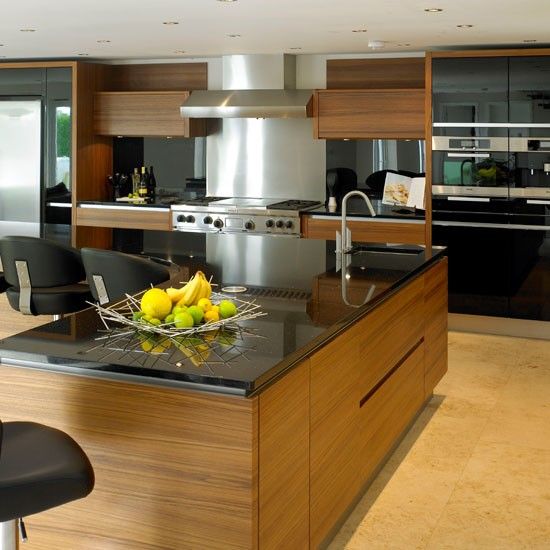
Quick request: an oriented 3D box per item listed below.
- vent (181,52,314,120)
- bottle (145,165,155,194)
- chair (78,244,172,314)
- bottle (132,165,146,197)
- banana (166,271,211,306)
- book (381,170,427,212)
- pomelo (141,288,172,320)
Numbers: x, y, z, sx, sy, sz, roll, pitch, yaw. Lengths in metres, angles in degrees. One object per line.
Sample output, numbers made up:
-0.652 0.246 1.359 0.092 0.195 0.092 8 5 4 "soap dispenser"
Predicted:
-0.254 -2.090 5.815 1.483 0.617 0.769 7 27 20 "vent"
-1.529 -1.165 6.453 0.125 0.352 0.115 2 9 0 "bottle"
-0.745 -0.036 2.731 0.372 0.388 0.377 7 22 20 "chair"
-1.661 -1.137 6.417 0.169 0.348 0.301 -1 9 -15 "bottle"
-0.282 0.056 1.759 0.105 0.135 0.052 38 -14 12 "banana"
1.346 -0.860 5.428 0.548 0.345 0.064 10 -7 36 "book"
-0.351 0.081 1.644 0.106 0.101 0.093 -7 6 -12 "pomelo"
